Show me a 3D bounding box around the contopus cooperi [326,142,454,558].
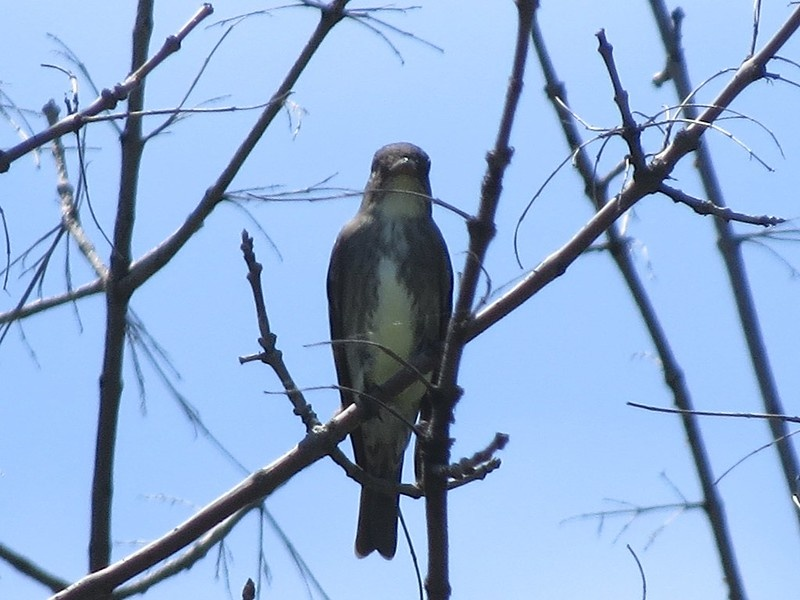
[{"bbox_3d":[-0.057,0.071,6.769,0.478,0.834,2.121,2,-85,-1],"label":"contopus cooperi"}]
